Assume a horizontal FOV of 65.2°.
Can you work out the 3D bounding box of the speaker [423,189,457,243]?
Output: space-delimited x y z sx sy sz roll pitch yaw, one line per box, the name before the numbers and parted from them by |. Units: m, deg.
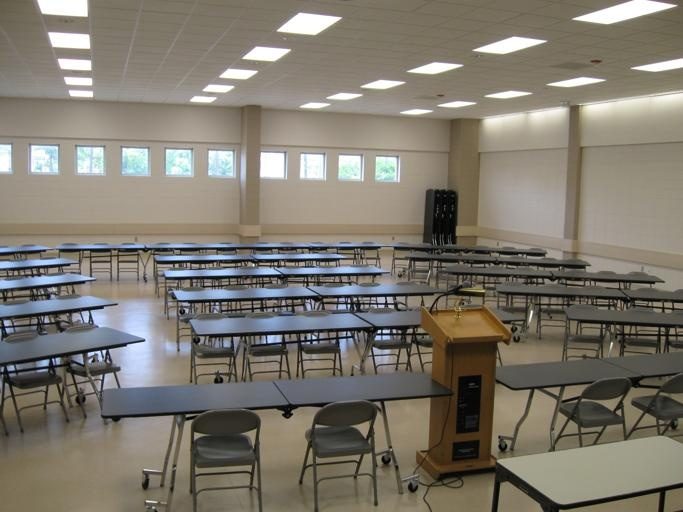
speaker | 3.356 -1.318 18.141 1.180 1.883 0.594 -2 5 9
